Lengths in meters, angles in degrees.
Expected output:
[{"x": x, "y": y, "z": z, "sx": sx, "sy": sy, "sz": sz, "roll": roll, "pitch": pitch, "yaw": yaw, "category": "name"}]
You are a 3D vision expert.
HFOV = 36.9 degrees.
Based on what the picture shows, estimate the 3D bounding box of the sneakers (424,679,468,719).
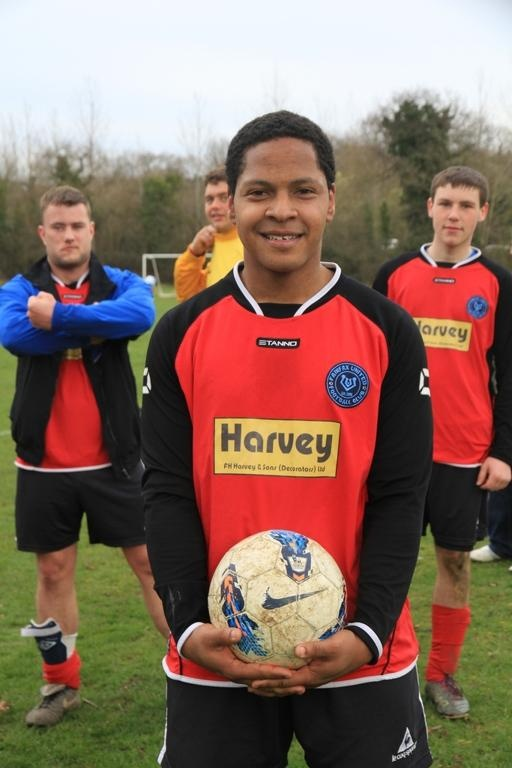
[{"x": 0.843, "y": 1.398, "z": 3.374, "sx": 0.084, "sy": 0.102, "sz": 0.211, "roll": -2, "pitch": -6, "yaw": -19, "category": "sneakers"}]

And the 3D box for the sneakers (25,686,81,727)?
[{"x": -0.891, "y": 1.418, "z": 3.370, "sx": 0.090, "sy": 0.110, "sz": 0.260, "roll": 5, "pitch": -5, "yaw": 21, "category": "sneakers"}]
